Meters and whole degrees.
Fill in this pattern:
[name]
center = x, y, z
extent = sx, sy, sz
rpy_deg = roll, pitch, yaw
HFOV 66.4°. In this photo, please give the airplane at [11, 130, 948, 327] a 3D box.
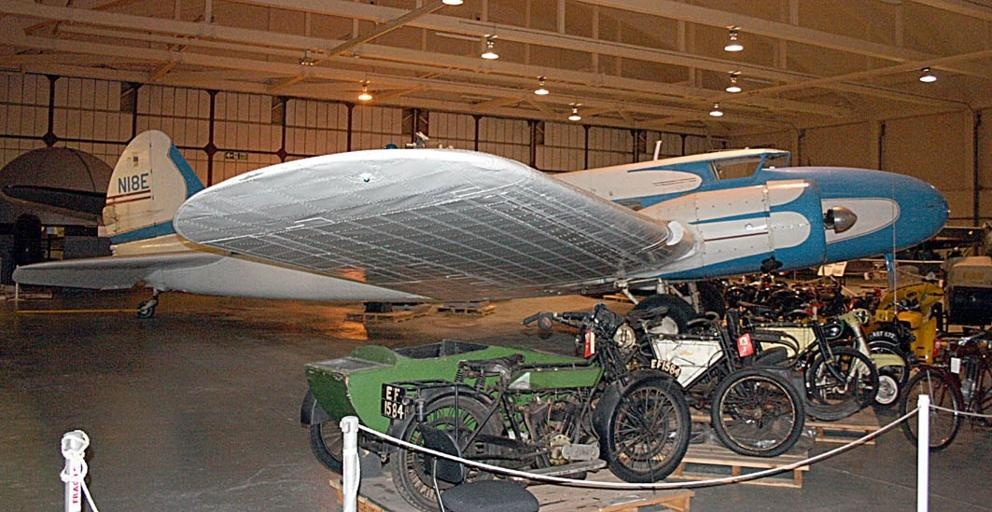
[airplane]
center = 1.308, -0.949, 20.903
extent = 13.849, 2.458, 12.657
rpy_deg = -2, 4, 0
